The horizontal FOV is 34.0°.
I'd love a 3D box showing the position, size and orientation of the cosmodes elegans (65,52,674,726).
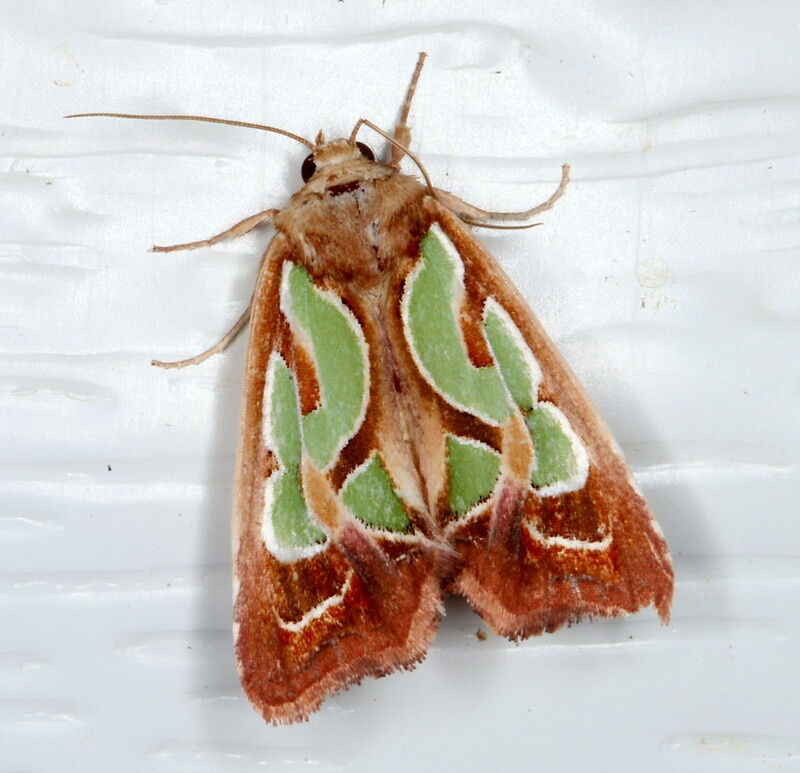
[{"bbox_3d":[-0.071,-0.278,3.295,1.218,0.407,1.910,-6,66,-12],"label":"cosmodes elegans"}]
